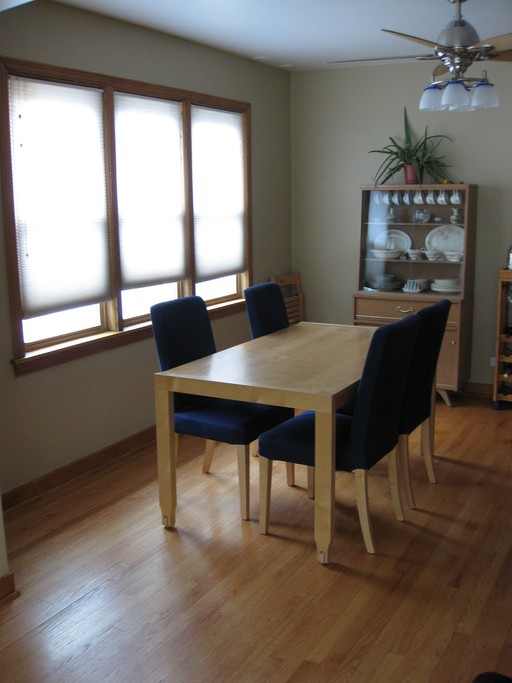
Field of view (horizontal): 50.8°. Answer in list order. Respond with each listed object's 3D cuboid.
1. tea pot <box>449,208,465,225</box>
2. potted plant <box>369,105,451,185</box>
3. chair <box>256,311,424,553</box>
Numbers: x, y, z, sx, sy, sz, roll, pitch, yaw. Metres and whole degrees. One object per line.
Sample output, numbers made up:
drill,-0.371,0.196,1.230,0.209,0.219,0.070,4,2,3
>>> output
tea pot,1.559,-0.963,4.163,0.103,0.144,0.102,-4,15,1
potted plant,1.287,-1.533,4.490,0.638,0.484,0.620,1,13,19
chair,0.429,0.220,2.718,0.803,1.472,0.793,6,12,27
